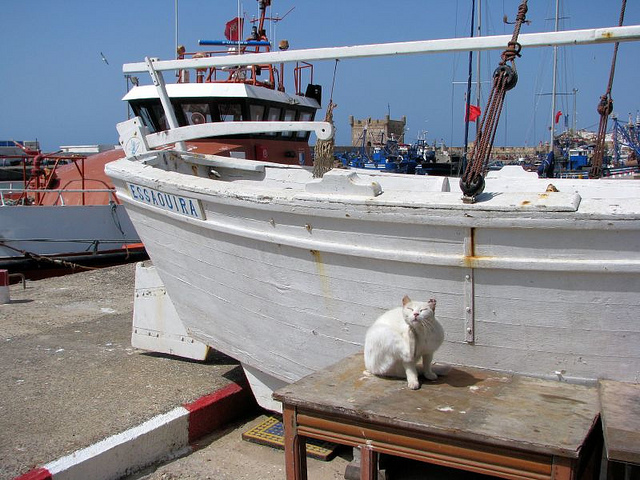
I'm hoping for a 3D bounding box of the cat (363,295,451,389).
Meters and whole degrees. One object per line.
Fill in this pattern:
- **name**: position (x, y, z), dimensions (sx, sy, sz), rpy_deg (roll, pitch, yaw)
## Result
- **cat**: position (0.551, 0.596, 3.156), dimensions (0.371, 0.469, 0.520), rpy_deg (0, -4, -10)
